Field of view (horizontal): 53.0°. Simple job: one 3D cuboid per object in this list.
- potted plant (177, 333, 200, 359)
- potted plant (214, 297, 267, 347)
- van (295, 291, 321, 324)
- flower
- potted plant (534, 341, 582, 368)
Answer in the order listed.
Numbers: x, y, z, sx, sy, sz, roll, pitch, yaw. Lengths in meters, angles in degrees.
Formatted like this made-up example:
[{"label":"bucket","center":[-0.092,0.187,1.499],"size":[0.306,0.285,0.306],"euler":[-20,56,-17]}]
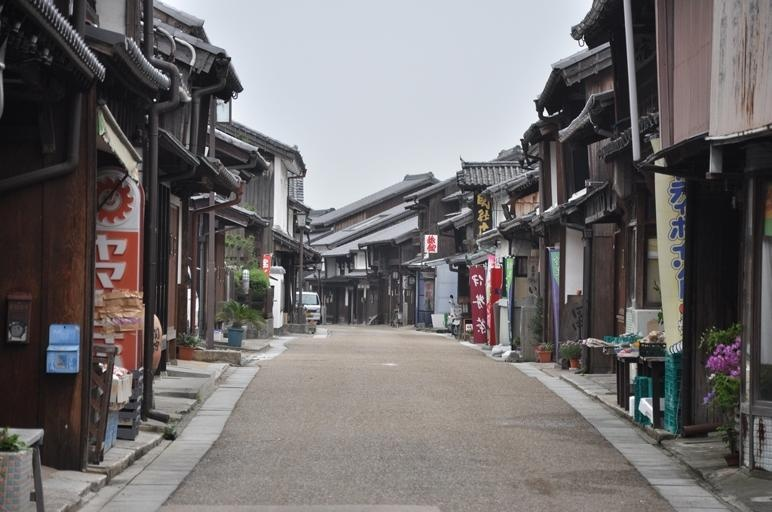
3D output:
[{"label":"potted plant","center":[-4.819,2.200,18.830],"size":[0.482,0.578,0.513],"euler":[3,-8,-9]},{"label":"potted plant","center":[-4.626,2.176,24.469],"size":[1.107,1.327,1.490],"euler":[1,-1,4]},{"label":"van","center":[-5.788,3.817,57.547],"size":[1.736,1.970,3.475],"euler":[-1,-8,-2]},{"label":"flower","center":[4.603,1.801,10.704],"size":[0.493,1.889,1.675],"euler":[1,0,22]},{"label":"potted plant","center":[4.774,2.675,21.074],"size":[0.628,0.434,1.048],"euler":[3,-7,-45]}]
